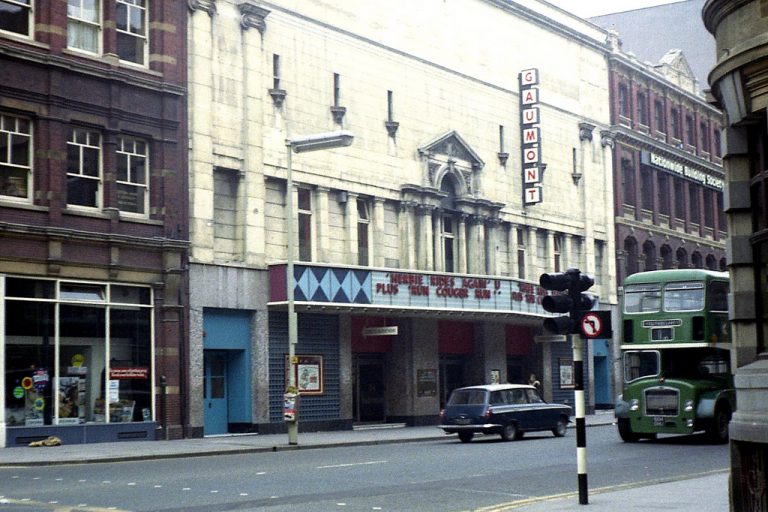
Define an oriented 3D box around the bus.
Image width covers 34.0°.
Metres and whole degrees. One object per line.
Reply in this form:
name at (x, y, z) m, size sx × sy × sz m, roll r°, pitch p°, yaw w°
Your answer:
bus at (10.844, 3.670, 46.430) m, size 4.201 × 6.350 × 2.206 m, roll -6°, pitch -13°, yaw 15°
